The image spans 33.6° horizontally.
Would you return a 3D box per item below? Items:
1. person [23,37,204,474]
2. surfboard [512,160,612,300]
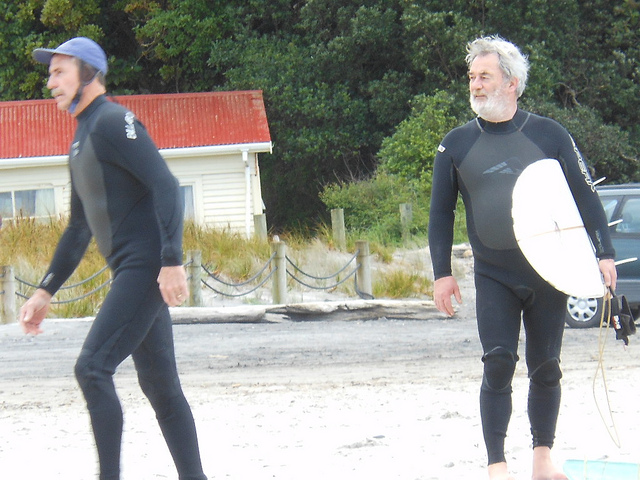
[{"bbox_3d":[-1.801,0.149,9.143,1.446,3.771,0.843,5,10,40],"label":"person"},{"bbox_3d":[2.103,-0.096,9.446,0.807,1.245,0.393,-19,-2,-10],"label":"surfboard"}]
